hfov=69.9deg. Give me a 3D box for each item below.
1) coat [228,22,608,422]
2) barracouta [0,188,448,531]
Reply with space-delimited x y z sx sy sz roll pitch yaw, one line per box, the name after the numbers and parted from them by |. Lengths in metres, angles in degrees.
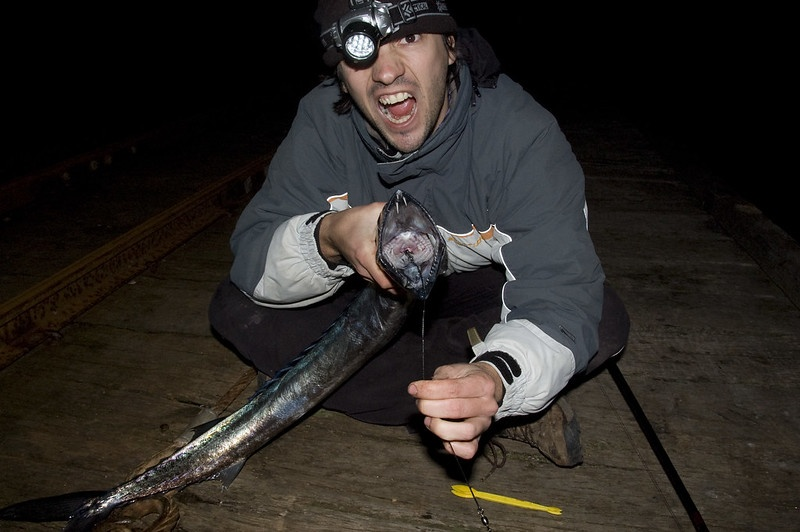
0.237 -0.121 3.950 2.234 2.398 2.272 9 36 24 | coat
-1.023 0.620 3.392 2.047 0.414 0.546 -46 49 -1 | barracouta
